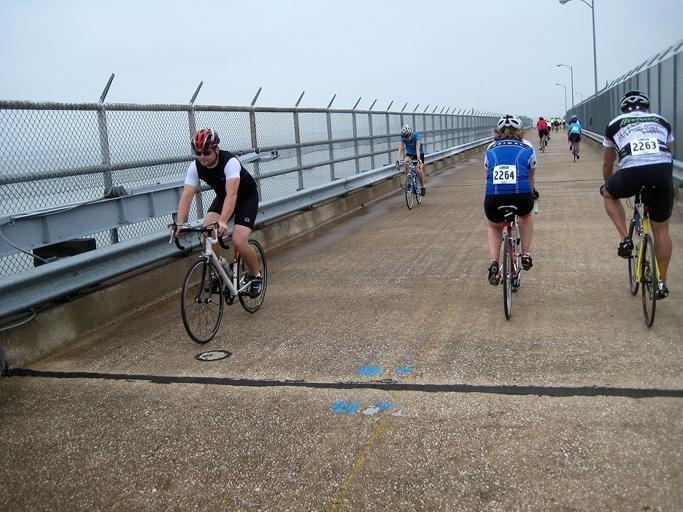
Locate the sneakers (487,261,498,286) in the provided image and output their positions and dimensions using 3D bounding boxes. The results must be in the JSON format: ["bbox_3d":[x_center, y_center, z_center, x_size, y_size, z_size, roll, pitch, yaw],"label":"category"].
[{"bbox_3d":[1.786,0.213,6.237,0.093,0.296,0.130,-1,24,9],"label":"sneakers"}]

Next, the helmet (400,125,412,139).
[{"bbox_3d":[1.899,-3.733,15.791,0.350,0.477,0.484,-3,10,13],"label":"helmet"}]

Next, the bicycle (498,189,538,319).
[{"bbox_3d":[2.008,0.030,6.208,0.260,1.260,1.001,0,12,19],"label":"bicycle"}]

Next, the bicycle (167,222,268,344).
[{"bbox_3d":[-1.148,0.375,6.193,0.600,1.449,2.254,0,8,18],"label":"bicycle"}]

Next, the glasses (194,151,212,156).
[{"bbox_3d":[-1.560,-1.167,5.952,0.206,0.058,0.144,-3,13,6],"label":"glasses"}]

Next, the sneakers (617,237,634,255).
[{"bbox_3d":[3.271,-0.091,6.082,0.110,0.122,0.266,-33,-10,9],"label":"sneakers"}]

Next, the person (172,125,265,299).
[{"bbox_3d":[-1.454,-0.492,6.500,0.887,2.037,1.345,6,16,20],"label":"person"}]

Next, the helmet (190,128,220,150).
[{"bbox_3d":[-1.528,-1.318,5.990,0.215,0.187,0.330,5,46,4],"label":"helmet"}]
